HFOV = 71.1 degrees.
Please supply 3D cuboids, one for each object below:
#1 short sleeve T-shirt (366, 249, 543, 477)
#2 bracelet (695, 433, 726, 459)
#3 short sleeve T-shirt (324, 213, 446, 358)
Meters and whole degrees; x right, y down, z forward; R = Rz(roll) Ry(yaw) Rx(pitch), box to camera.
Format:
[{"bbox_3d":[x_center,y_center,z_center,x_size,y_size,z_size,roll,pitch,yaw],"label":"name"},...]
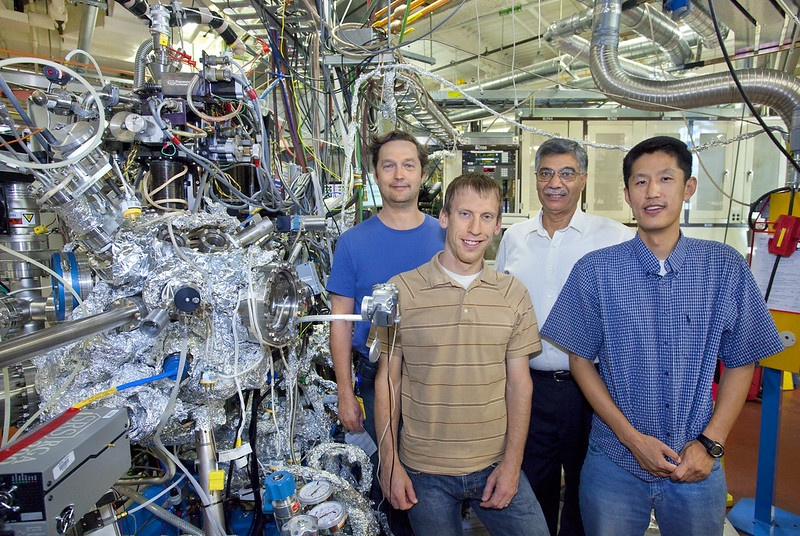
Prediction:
[{"bbox_3d":[0.278,0.389,2.280,0.601,0.857,0.229,-2,7,-3],"label":"short sleeve T-shirt"},{"bbox_3d":[1.242,0.708,2.230,0.107,0.072,0.118,37,9,27],"label":"bracelet"},{"bbox_3d":[-0.050,0.085,2.440,0.654,0.640,0.338,2,3,-2],"label":"short sleeve T-shirt"}]
